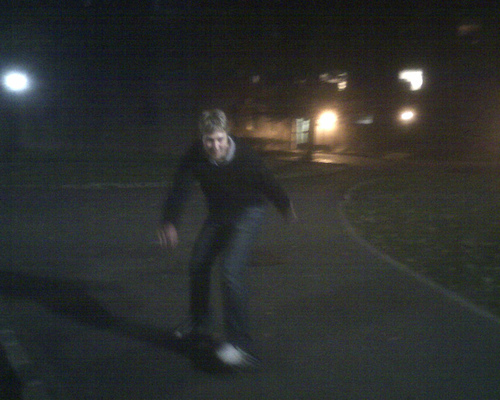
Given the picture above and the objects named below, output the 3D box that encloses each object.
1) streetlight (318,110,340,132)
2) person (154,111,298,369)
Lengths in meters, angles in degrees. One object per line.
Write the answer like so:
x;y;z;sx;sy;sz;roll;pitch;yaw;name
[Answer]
0.783;-0.806;6.341;0.230;0.189;0.220;6;11;33;streetlight
-0.251;0.373;5.820;1.131;2.360;0.476;1;14;1;person
